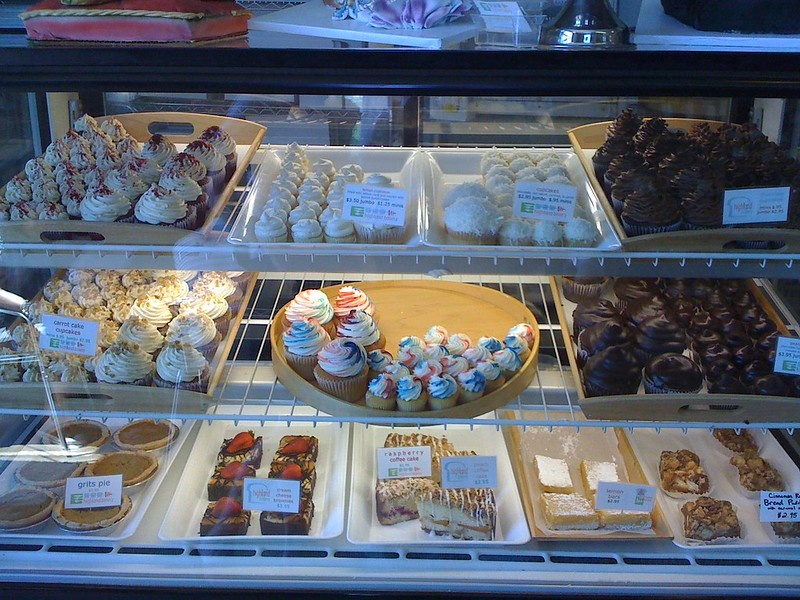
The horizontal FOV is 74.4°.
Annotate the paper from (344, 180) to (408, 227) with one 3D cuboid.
[{"bbox_3d":[-0.076,-0.283,1.576,0.191,0.103,0.009,3,7,5],"label":"paper"}]

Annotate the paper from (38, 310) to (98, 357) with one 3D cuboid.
[{"bbox_3d":[-1.156,0.123,1.832,0.192,0.103,0.018,5,4,6],"label":"paper"}]

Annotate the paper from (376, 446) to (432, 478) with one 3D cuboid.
[{"bbox_3d":[0.018,0.586,1.908,0.151,0.072,0.014,-1,-15,4],"label":"paper"}]
